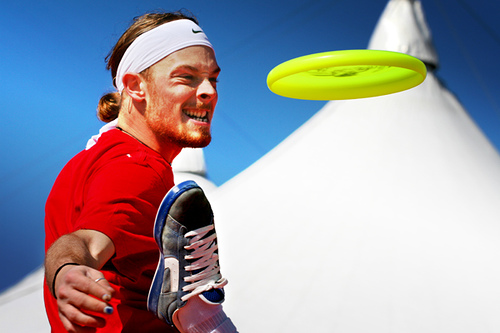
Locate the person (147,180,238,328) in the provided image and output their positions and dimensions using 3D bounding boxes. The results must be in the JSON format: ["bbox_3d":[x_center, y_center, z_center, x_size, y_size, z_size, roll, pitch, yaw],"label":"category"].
[{"bbox_3d":[-0.405,0.613,3.108,0.338,0.497,1.221,-13,-55,-26],"label":"person"}]
